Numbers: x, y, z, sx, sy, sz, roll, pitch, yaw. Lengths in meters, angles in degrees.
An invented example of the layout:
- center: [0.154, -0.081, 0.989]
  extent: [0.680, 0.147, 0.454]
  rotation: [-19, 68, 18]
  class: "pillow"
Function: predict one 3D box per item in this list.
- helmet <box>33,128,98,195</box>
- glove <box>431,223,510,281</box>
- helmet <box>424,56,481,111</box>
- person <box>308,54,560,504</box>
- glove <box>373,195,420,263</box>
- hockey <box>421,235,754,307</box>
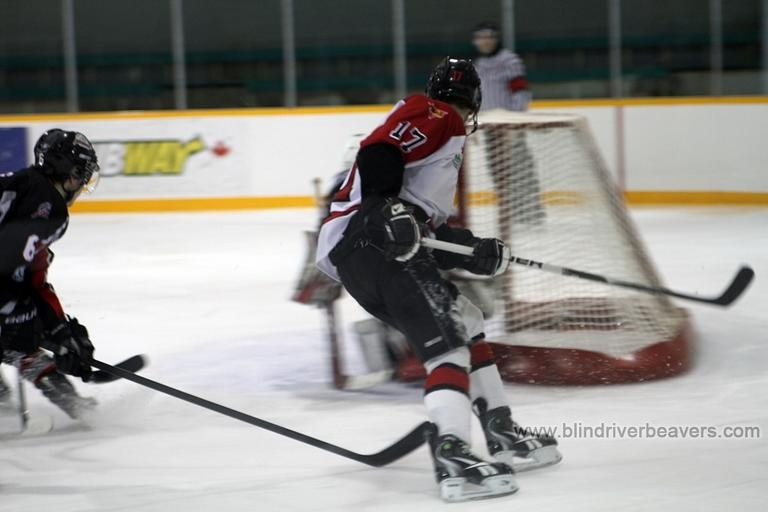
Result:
- center: [-1.436, -0.431, 4.112]
  extent: [0.266, 0.268, 0.126]
  rotation: [-5, 9, -26]
  class: "helmet"
- center: [0.399, -0.020, 3.954]
  extent: [0.361, 0.094, 0.216]
  rotation: [12, -5, -1]
  class: "glove"
- center: [0.314, -0.735, 3.899]
  extent: [0.248, 0.194, 0.272]
  rotation: [6, 17, 17]
  class: "helmet"
- center: [0.240, 0.057, 3.814]
  extent: [0.604, 1.785, 0.839]
  rotation: [-9, 11, -37]
  class: "person"
- center: [0.060, -0.091, 3.678]
  extent: [0.242, 0.220, 0.095]
  rotation: [-15, 5, 5]
  class: "glove"
- center: [1.063, 0.092, 4.823]
  extent: [1.744, 0.173, 0.099]
  rotation: [10, 31, -7]
  class: "hockey"
